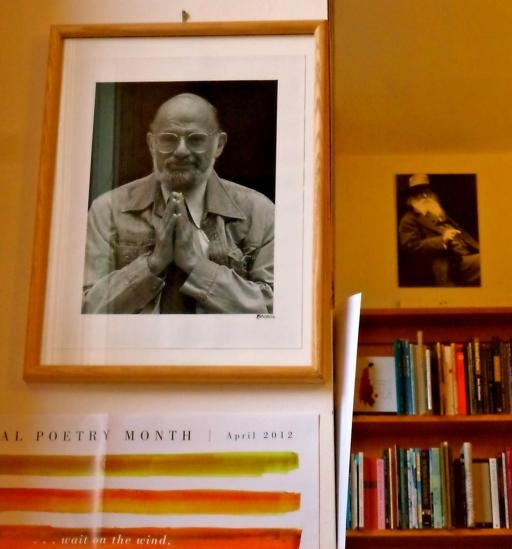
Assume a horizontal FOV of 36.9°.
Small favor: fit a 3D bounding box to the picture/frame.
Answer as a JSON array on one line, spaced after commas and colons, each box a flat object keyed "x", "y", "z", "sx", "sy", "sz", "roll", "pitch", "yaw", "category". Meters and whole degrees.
[{"x": -0.129, "y": -0.170, "z": 1.449, "sx": 0.518, "sy": 0.847, "sz": 0.035, "roll": 1, "pitch": -32, "yaw": -3, "category": "picture/frame"}]

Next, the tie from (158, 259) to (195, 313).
[{"x": -0.135, "y": 0.026, "z": 1.322, "sx": 0.060, "sy": 0.141, "sz": 0.029, "roll": -2, "pitch": -12, "yaw": 6, "category": "tie"}]
